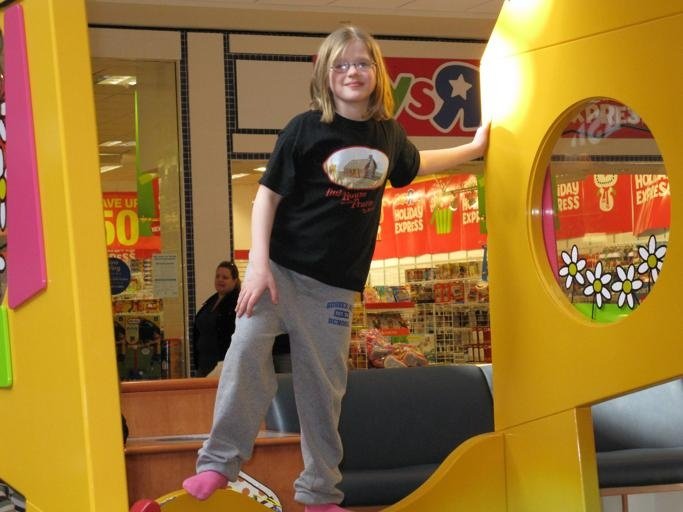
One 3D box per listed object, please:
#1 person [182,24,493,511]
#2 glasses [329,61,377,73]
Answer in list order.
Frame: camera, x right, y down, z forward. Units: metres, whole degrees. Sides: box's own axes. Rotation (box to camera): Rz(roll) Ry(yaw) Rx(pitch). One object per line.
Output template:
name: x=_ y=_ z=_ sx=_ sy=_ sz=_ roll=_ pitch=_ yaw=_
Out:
person: x=-0.040 y=0.068 z=1.955 sx=0.814 sy=1.432 sz=0.400 roll=0 pitch=0 yaw=-15
glasses: x=0.031 y=-0.515 z=1.855 sx=0.106 sy=0.035 sz=0.025 roll=0 pitch=1 yaw=-3
